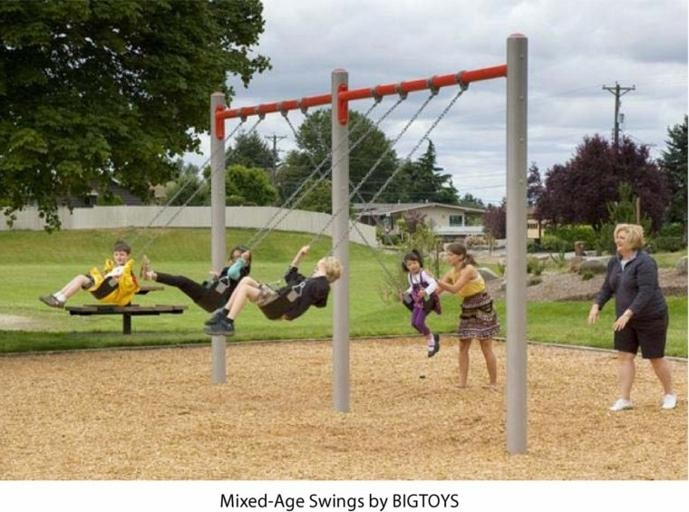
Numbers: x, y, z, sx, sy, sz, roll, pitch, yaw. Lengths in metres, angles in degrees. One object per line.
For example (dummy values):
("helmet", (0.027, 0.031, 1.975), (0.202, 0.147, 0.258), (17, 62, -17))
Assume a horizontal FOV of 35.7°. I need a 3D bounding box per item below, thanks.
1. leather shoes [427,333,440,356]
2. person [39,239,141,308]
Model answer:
("leather shoes", (1.423, 1.439, 17.141), (0.190, 0.419, 0.157), (2, -6, 15))
("person", (-4.270, 0.327, 17.761), (1.595, 1.042, 1.053), (-2, 6, -32))
